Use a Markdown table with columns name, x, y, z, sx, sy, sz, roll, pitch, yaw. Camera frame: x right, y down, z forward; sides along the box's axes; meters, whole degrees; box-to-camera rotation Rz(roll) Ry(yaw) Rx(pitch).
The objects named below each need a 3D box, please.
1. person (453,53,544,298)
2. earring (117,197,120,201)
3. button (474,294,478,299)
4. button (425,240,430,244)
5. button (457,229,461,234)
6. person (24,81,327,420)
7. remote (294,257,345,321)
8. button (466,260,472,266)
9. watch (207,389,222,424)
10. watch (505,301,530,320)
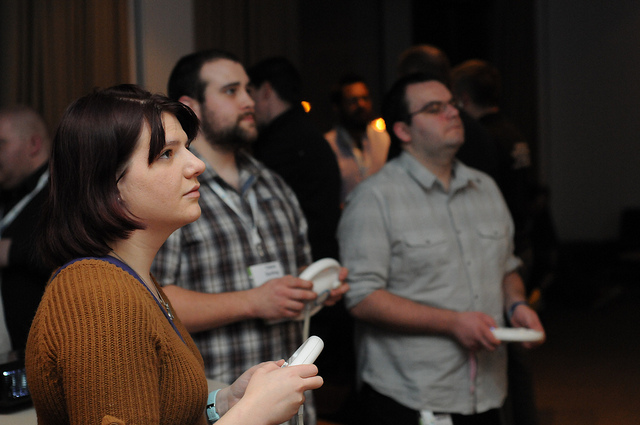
| name | x | y | z | sx | sy | sz | roll | pitch | yaw |
| --- | --- | --- | --- | --- | --- | --- | --- | --- | --- |
| person | 0.636 | -0.116 | 2.182 | 0.309 | 0.816 | 0.113 | 1 | 9 | 20 |
| earring | -0.569 | -0.035 | 1.727 | 0.006 | 0.007 | 0.001 | -9 | 11 | -41 |
| button | 0.545 | 0.294 | 2.129 | 0.013 | 0.014 | 0.004 | -3 | -8 | 6 |
| button | 0.382 | 0.106 | 2.158 | 0.013 | 0.012 | 0.003 | 1 | -7 | 7 |
| button | 0.489 | 0.068 | 2.151 | 0.015 | 0.014 | 0.004 | 3 | -1 | 12 |
| person | -0.580 | 0.133 | 1.765 | 0.534 | 1.000 | 0.396 | -5 | 9 | -17 |
| remote | 0.004 | 0.305 | 2.392 | 0.196 | 0.248 | 0.077 | -25 | 43 | -16 |
| button | 0.522 | 0.180 | 2.139 | 0.016 | 0.016 | 0.004 | -2 | -10 | 4 |
| watch | -0.350 | 0.634 | 2.010 | 0.041 | 0.092 | 0.083 | -4 | 8 | -11 |
| watch | 0.686 | 0.335 | 2.117 | 0.061 | 0.017 | 0.065 | -32 | -42 | 16 |
